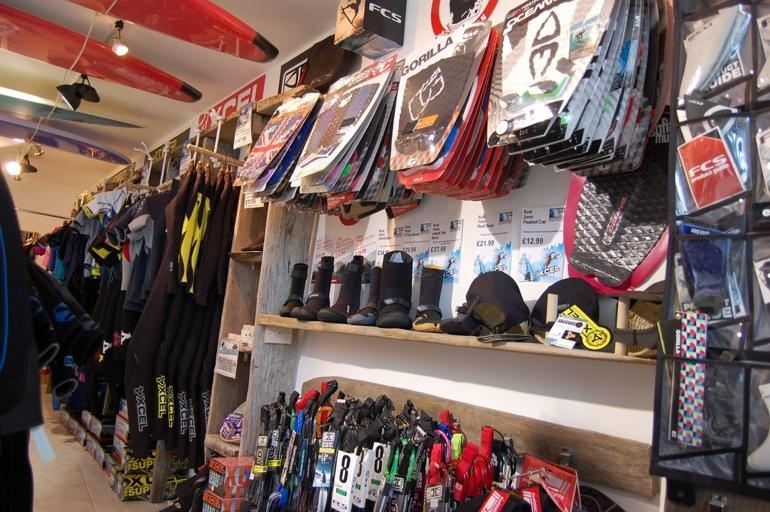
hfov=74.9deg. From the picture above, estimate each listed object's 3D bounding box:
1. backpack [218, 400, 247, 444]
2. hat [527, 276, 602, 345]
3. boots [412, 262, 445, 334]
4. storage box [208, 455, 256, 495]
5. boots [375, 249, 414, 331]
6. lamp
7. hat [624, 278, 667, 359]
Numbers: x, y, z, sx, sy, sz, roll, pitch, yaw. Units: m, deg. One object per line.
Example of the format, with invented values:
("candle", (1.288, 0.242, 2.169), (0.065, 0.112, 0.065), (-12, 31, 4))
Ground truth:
("backpack", (-0.851, 0.934, 2.899), (0.171, 0.248, 0.054), (-22, -53, 27))
("hat", (0.637, 0.182, 1.801), (0.247, 0.239, 0.210), (-4, -15, 22))
("boots", (0.185, 0.206, 2.164), (0.146, 0.310, 0.324), (4, -1, 12))
("storage box", (-0.720, 1.010, 2.373), (0.166, 0.105, 0.166), (-2, -8, 32))
("boots", (0.042, 0.171, 2.258), (0.153, 0.318, 0.459), (2, 8, 3))
("lamp", (-3.074, -1.497, 4.934), (2.003, 0.293, 0.420), (-45, -8, 29))
("hat", (0.802, 0.190, 1.569), (0.123, 0.249, 0.209), (-9, -18, 35))
